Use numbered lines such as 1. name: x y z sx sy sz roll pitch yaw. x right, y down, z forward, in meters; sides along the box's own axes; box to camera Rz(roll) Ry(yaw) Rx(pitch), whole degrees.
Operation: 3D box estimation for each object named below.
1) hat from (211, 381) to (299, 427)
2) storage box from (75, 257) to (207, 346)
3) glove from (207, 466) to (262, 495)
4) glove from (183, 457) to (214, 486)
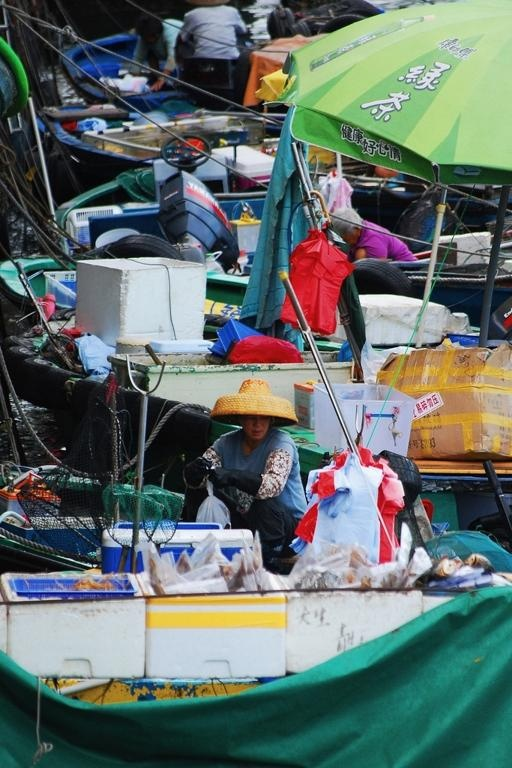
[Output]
1. hat: -0.010 0.087 4.610 0.275 0.114 0.254 1 -10 -5
2. storage box: -0.796 -0.593 7.323 0.684 0.607 0.892 -3 8 -29
3. glove: -0.085 0.382 4.295 0.152 0.055 0.118 12 2 -19
4. glove: -0.239 0.360 4.434 0.099 0.101 0.153 -32 5 14
